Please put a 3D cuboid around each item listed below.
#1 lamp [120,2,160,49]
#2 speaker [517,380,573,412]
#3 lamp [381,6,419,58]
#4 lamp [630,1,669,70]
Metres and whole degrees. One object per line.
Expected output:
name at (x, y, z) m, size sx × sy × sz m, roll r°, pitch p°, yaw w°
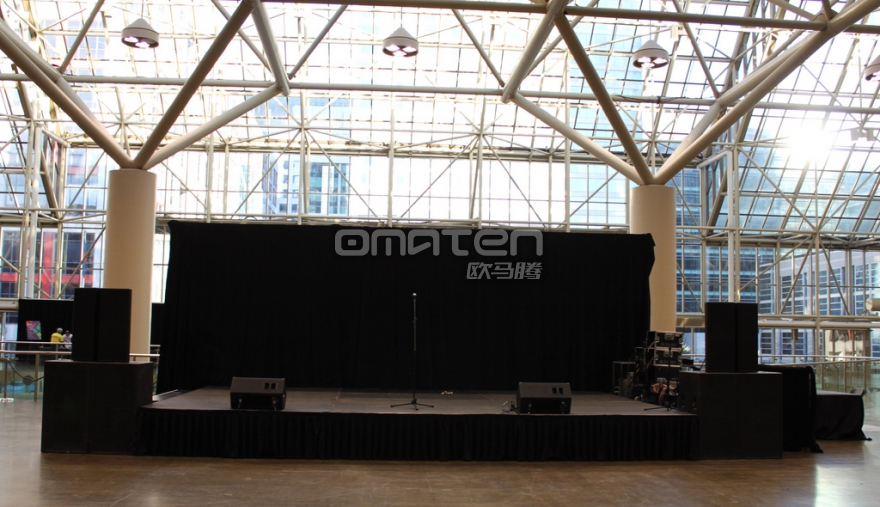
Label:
lamp at (-7.796, -5.867, 20.829) m, size 0.868 × 0.780 × 0.834 m, roll 3°, pitch -7°, yaw -22°
speaker at (2.315, 3.178, 17.661) m, size 1.173 × 0.658 × 0.237 m, roll 1°, pitch -7°, yaw -6°
lamp at (-1.000, -5.827, 21.820) m, size 1.070 × 1.042 × 1.063 m, roll -4°, pitch -7°, yaw 41°
lamp at (5.704, -5.462, 21.656) m, size 0.671 × 0.717 × 0.785 m, roll 5°, pitch -8°, yaw -37°
